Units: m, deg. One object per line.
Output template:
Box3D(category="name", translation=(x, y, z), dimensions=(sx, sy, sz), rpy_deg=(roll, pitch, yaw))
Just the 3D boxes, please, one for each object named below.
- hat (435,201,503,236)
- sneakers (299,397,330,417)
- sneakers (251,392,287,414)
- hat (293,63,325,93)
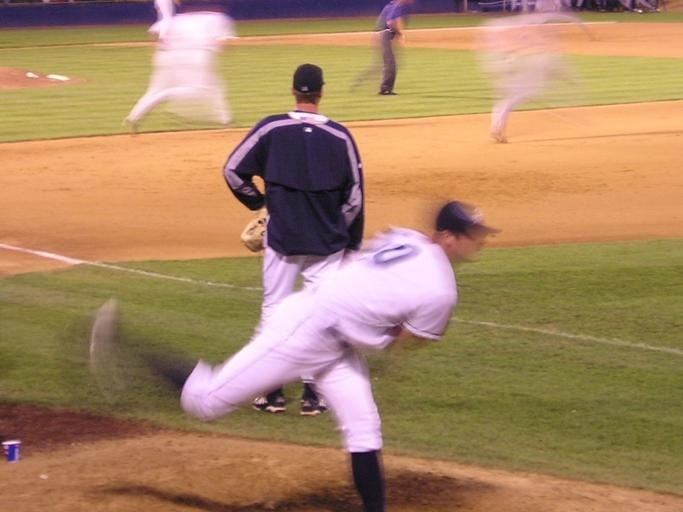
Box3D(category="hat", translation=(1.187, -0.356, 13.319), dimensions=(0.533, 0.197, 0.301), rpy_deg=(1, 6, -2))
Box3D(category="sneakers", translation=(-0.280, 1.570, 14.694), dimensions=(0.364, 0.178, 0.181), rpy_deg=(-3, 3, 1))
Box3D(category="sneakers", translation=(-0.725, 1.533, 14.765), dimensions=(0.407, 0.146, 0.192), rpy_deg=(6, 7, 43))
Box3D(category="hat", translation=(-0.316, -1.820, 14.336), dimensions=(0.299, 0.188, 0.313), rpy_deg=(6, 48, 2))
